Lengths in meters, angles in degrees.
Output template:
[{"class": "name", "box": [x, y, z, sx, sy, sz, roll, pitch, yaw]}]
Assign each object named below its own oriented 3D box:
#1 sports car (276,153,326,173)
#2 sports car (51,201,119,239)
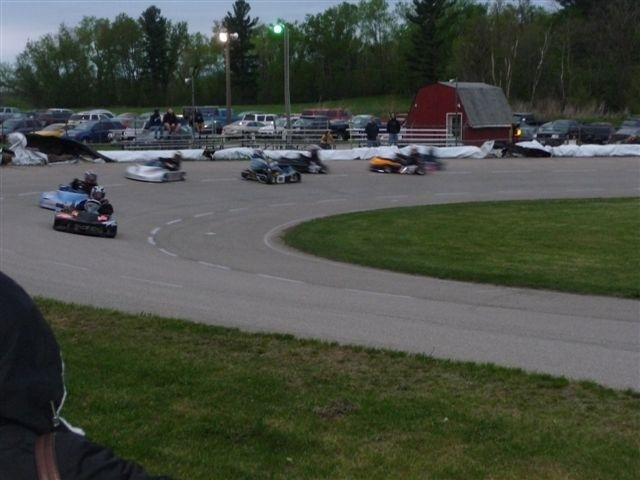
[{"class": "sports car", "box": [-0.655, -3.157, 40.312, 1.722, 1.243, 0.930, -1, 8, -5]}, {"class": "sports car", "box": [-6.665, -0.610, 26.897, 1.813, 0.928, 3.004, 7, -1, -13]}]
